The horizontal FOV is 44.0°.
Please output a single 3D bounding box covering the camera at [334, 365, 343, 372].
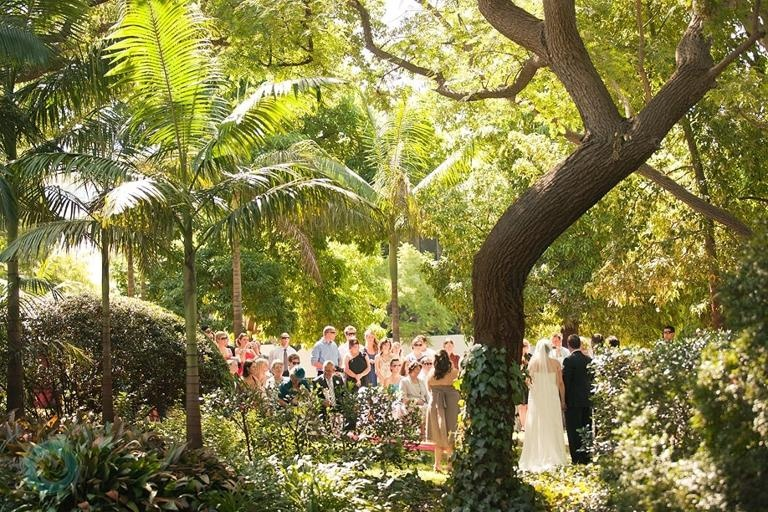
[{"bbox_3d":[-1.012,2.554,21.167,0.084,0.125,0.272,4,-12,-37],"label":"camera"}]
